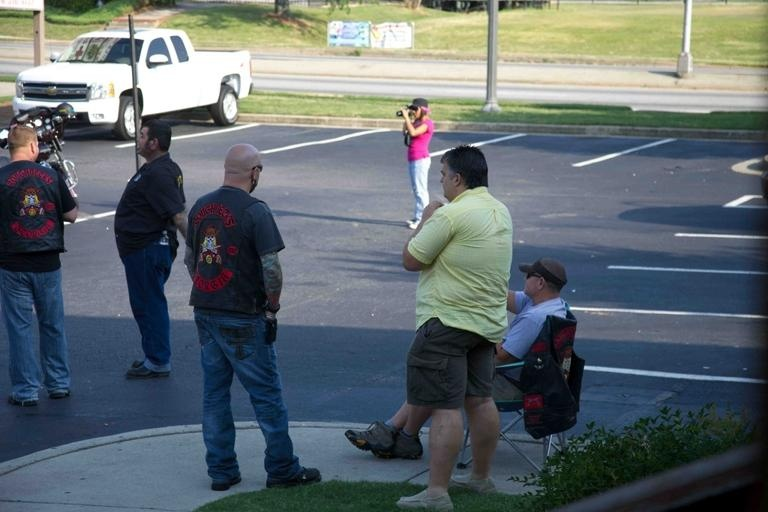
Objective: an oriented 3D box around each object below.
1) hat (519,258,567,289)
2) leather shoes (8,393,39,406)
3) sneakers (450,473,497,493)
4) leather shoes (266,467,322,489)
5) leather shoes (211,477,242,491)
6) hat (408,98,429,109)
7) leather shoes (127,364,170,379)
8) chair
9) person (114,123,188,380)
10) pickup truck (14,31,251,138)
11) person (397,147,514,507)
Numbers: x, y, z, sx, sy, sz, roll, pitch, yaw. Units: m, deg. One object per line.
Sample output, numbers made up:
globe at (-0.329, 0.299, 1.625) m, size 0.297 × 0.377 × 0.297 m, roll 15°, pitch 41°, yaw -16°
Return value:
hat at (1.753, 0.155, 13.436) m, size 0.482 × 0.226 × 0.294 m, roll 15°, pitch 9°, yaw 13°
leather shoes at (-4.142, 1.659, 14.247) m, size 0.322 × 0.133 × 0.123 m, roll 11°, pitch 13°, yaw 26°
sneakers at (0.916, 2.343, 12.783) m, size 0.413 × 0.147 × 0.202 m, roll 6°, pitch 2°, yaw 12°
leather shoes at (-0.900, 2.308, 12.948) m, size 0.600 × 0.239 × 0.207 m, roll -6°, pitch 10°, yaw -12°
leather shoes at (-1.627, 2.358, 12.858) m, size 0.116 × 0.119 × 0.312 m, roll 7°, pitch 8°, yaw 35°
hat at (0.562, -2.467, 20.110) m, size 0.313 × 0.273 × 0.380 m, roll 6°, pitch 12°, yaw 0°
leather shoes at (-2.833, 1.399, 14.947) m, size 0.468 × 0.190 × 0.174 m, roll 5°, pitch 1°, yaw -16°
chair at (1.713, 1.501, 14.124) m, size 1.740 × 2.206 × 1.814 m, roll 3°, pitch 1°, yaw 26°
person at (-2.786, -0.090, 14.932) m, size 0.851 × 3.025 × 0.690 m, roll -3°, pitch 10°, yaw -12°
pickup truck at (-5.587, -3.973, 28.839) m, size 2.769 × 1.729 × 5.287 m, roll 3°, pitch 6°, yaw 29°
person at (0.768, 0.712, 12.552) m, size 1.154 × 3.574 × 0.796 m, roll -4°, pitch 11°, yaw -18°
